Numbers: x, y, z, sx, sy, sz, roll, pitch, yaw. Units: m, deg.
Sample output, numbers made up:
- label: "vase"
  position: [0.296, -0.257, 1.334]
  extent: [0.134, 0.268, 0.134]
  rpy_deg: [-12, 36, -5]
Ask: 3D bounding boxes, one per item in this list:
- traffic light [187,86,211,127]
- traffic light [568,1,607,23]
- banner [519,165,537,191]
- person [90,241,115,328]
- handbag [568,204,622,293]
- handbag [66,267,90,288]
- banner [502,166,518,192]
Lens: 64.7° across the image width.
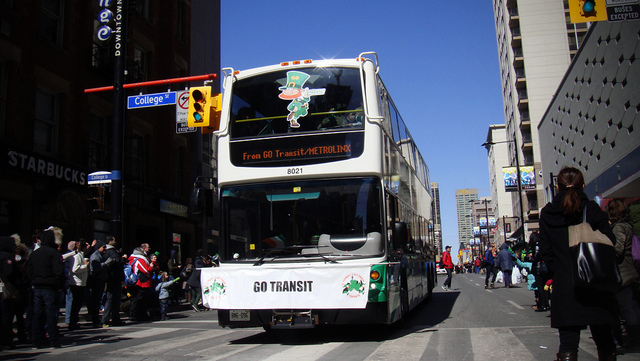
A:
- label: "traffic light"
  position: [-4.543, -2.848, 19.002]
  extent: [0.890, 1.580, 0.648]
  rpy_deg: [-4, -12, -4]
- label: "traffic light"
  position: [10.454, -6.676, 19.815]
  extent: [1.446, 0.959, 0.343]
  rpy_deg: [-4, -12, -3]
- label: "banner"
  position: [25.032, -0.470, 60.412]
  extent: [2.338, 2.706, 2.338]
  rpy_deg: [2, -2, -26]
- label: "person"
  position: [-7.861, 3.681, 18.080]
  extent: [0.719, 3.047, 0.829]
  rpy_deg: [1, -13, -26]
- label: "handbag"
  position: [5.778, 1.162, 10.629]
  extent: [0.983, 2.068, 0.526]
  rpy_deg: [-5, -7, 6]
- label: "handbag"
  position: [-8.314, 3.300, 17.356]
  extent: [0.624, 0.823, 0.476]
  rpy_deg: [-5, -54, -4]
- label: "banner"
  position: [25.053, -0.497, 66.523]
  extent: [1.622, 3.737, 5.652]
  rpy_deg: [-9, -13, 22]
